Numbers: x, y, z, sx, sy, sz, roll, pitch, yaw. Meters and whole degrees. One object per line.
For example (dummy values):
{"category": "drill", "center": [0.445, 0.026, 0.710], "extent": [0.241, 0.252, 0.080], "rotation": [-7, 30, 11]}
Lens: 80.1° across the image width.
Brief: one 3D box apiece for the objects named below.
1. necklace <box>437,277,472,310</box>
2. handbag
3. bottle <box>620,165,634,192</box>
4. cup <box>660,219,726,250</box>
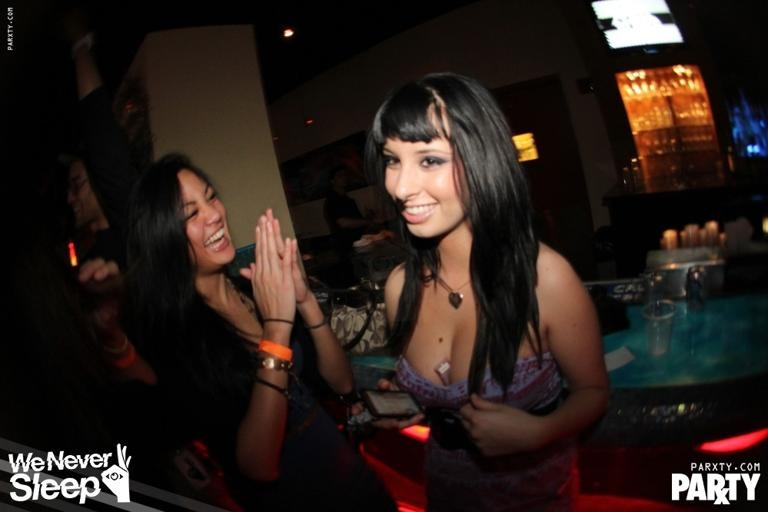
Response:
{"category": "necklace", "center": [0.288, 0.151, 1.847], "extent": [0.131, 0.155, 0.017], "rotation": [2, 15, 25]}
{"category": "handbag", "center": [-0.108, 0.291, 2.056], "extent": [0.216, 0.302, 0.107], "rotation": [1, 5, 1]}
{"category": "bottle", "center": [0.928, -0.296, 1.753], "extent": [0.056, 0.097, 0.012], "rotation": [-8, 0, -14]}
{"category": "cup", "center": [1.191, -0.091, 1.787], "extent": [0.232, 0.069, 0.054], "rotation": [-12, 10, -3]}
